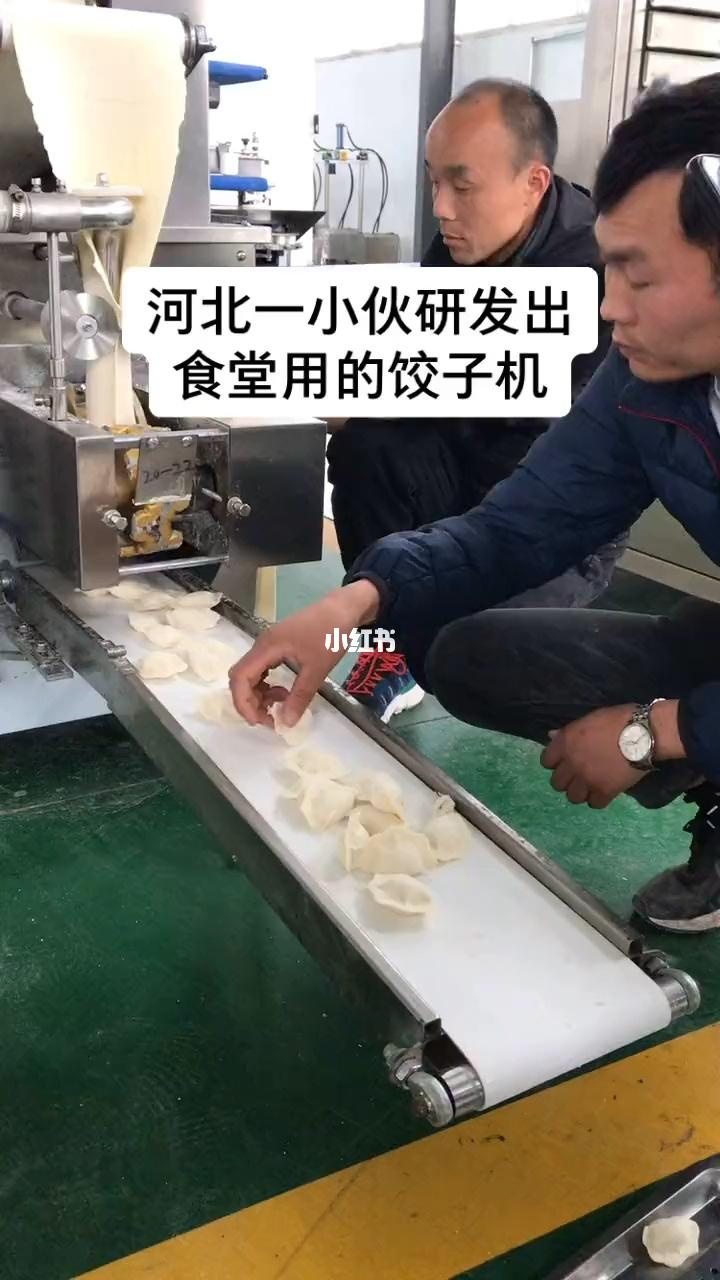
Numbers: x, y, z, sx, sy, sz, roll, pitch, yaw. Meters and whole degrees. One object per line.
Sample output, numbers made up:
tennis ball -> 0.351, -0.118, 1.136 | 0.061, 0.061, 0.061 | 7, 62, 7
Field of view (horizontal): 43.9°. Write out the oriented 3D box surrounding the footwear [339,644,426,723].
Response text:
footwear -> 0.048, 0.094, 1.900 | 0.094, 0.120, 0.281 | 38, 12, 9

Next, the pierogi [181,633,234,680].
pierogi -> -0.217, 0.024, 1.271 | 0.064, 0.009, 0.065 | 35, 29, 13

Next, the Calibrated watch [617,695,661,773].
Calibrated watch -> 0.356, 0.127, 1.139 | 0.051, 0.094, 0.087 | 10, 4, 26

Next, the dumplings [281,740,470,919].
dumplings -> 0.016, 0.194, 0.936 | 0.102, 0.030, 0.197 | -1, 29, -35

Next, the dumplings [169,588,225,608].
dumplings -> -0.258, -0.066, 1.453 | 0.046, 0.013, 0.038 | 14, 21, 33

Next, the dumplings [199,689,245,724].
dumplings -> -0.182, 0.087, 1.156 | 0.035, 0.013, 0.045 | -12, 38, -22

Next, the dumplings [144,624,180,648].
dumplings -> -0.288, -0.007, 1.309 | 0.037, 0.011, 0.038 | 7, 27, -39
